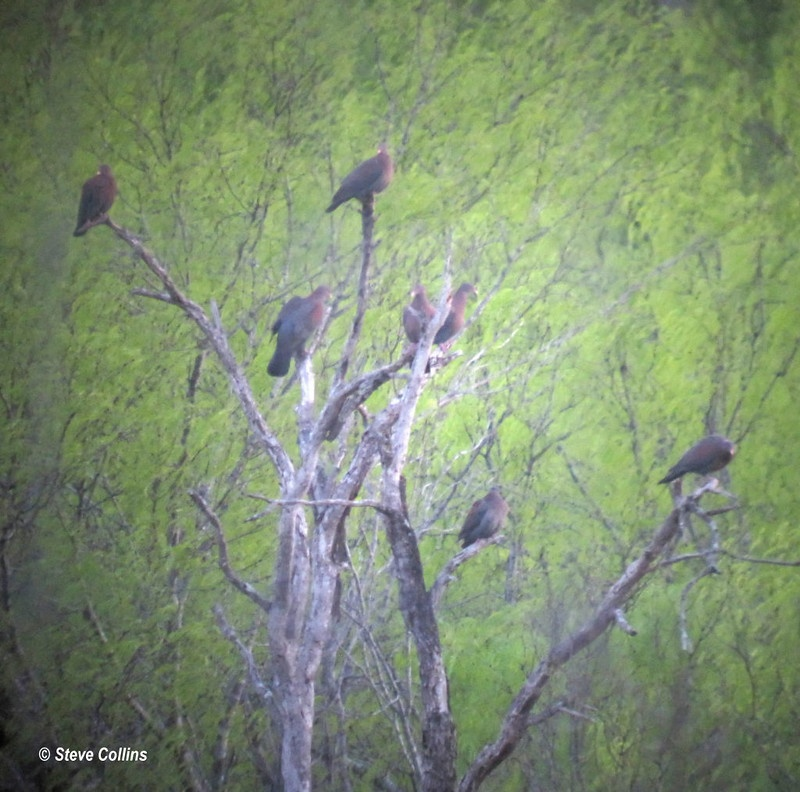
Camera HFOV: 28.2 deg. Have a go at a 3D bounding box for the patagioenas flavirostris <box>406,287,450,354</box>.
[{"bbox_3d":[0.233,-0.608,11.971,0.193,0.675,0.529,-5,-4,-3],"label":"patagioenas flavirostris"}]

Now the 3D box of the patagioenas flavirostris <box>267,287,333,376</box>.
[{"bbox_3d":[-0.763,-0.488,12.096,0.157,0.492,0.342,25,-17,17],"label":"patagioenas flavirostris"}]

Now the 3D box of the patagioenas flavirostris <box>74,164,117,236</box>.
[{"bbox_3d":[-2.349,-1.519,12.260,0.195,0.353,0.513,21,-38,26],"label":"patagioenas flavirostris"}]
